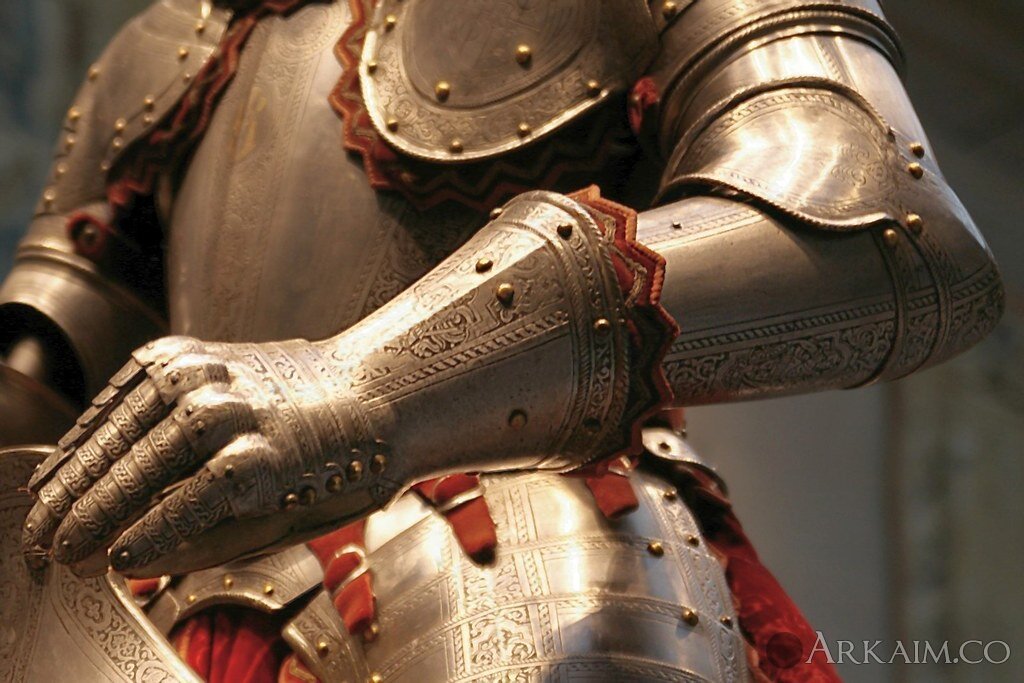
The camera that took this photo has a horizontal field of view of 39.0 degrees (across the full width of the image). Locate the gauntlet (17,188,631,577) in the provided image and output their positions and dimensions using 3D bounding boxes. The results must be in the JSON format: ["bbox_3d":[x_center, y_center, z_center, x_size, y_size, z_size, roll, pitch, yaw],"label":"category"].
[{"bbox_3d":[-0.191,0.048,1.702,0.673,0.376,0.344,-22,37,-23],"label":"gauntlet"}]
